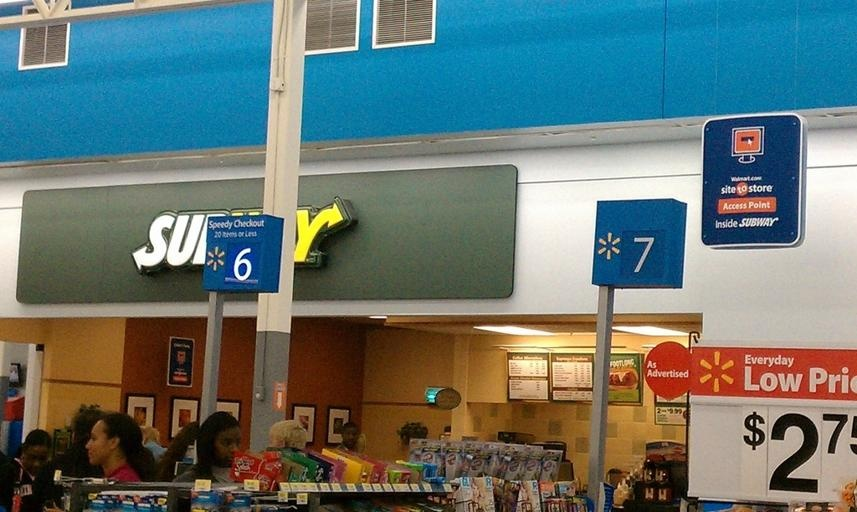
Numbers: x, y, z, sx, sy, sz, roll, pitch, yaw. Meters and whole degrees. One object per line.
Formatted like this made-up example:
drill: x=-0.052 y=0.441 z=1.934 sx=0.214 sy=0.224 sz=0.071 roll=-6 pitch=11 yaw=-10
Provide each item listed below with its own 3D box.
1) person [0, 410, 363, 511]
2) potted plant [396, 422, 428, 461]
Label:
person: x=-2.128 y=1.524 z=7.002 sx=1.084 sy=0.466 sz=1.465 roll=-4 pitch=-7 yaw=32
potted plant: x=-0.307 y=3.158 z=15.275 sx=0.406 sy=0.657 sz=0.750 roll=6 pitch=-9 yaw=-29
